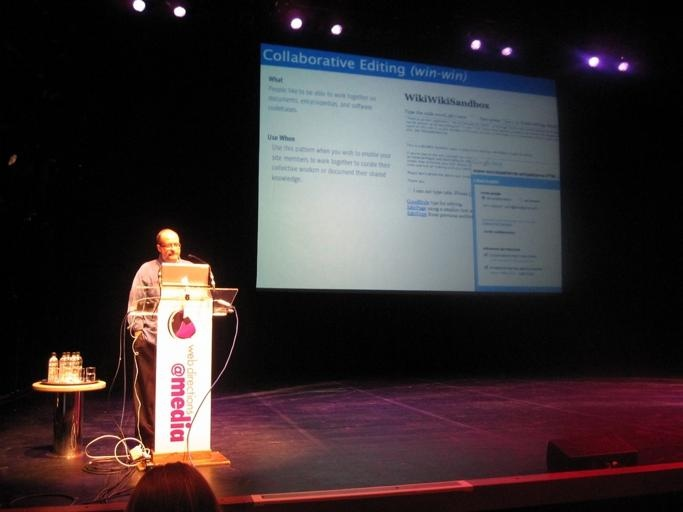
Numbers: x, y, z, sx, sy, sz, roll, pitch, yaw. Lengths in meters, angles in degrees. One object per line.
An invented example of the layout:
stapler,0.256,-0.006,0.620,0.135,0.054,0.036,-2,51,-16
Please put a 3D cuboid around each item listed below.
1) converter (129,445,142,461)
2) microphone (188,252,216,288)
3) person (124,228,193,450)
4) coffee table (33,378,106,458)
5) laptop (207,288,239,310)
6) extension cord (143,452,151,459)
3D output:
converter,-1.384,1.332,4.055,0.064,0.070,0.122,-25,1,-10
microphone,-1.102,0.107,4.710,0.229,0.047,0.322,0,29,-13
person,-1.322,0.581,4.283,0.376,1.050,0.597,2,1,-20
coffee table,-1.968,1.171,4.365,0.491,0.545,0.487,2,-3,-35
laptop,-0.791,0.287,4.071,0.137,0.156,0.041,4,31,-2
extension cord,-1.321,1.348,4.089,0.028,0.037,0.050,3,-18,-8
